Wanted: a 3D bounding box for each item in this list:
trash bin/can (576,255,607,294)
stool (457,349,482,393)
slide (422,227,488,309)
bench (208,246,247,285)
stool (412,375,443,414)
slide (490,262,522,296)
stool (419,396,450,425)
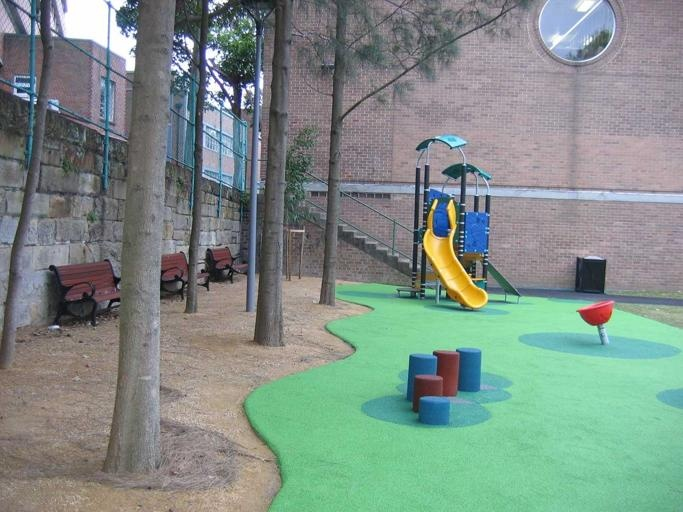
[{"bbox_3d":[7.553,0.583,19.289,1.049,1.444,0.996,0,-3,10],"label":"trash bin/can"},{"bbox_3d":[1.461,1.318,7.237,0.270,0.471,0.232,4,9,11],"label":"stool"},{"bbox_3d":[2.416,0.273,13.900,0.876,1.614,1.838,-2,9,-24],"label":"slide"},{"bbox_3d":[-2.998,0.303,16.415,0.781,0.677,0.976,7,4,15],"label":"bench"},{"bbox_3d":[0.873,1.448,6.534,0.328,0.392,0.339,1,-5,-2],"label":"stool"},{"bbox_3d":[3.873,0.542,15.238,0.690,0.796,0.812,4,9,13],"label":"slide"},{"bbox_3d":[0.936,1.547,6.339,0.257,0.201,0.265,-1,2,30],"label":"stool"}]
